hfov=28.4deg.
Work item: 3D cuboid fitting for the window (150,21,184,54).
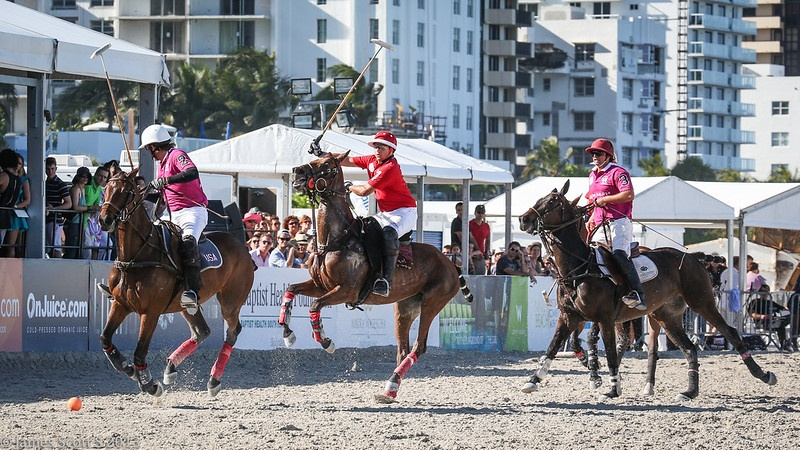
[{"bbox_3d":[-17.987,-14.332,122.113,2.835,2.693,0.188,1,5,2],"label":"window"}]

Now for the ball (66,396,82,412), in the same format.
[{"bbox_3d":[-11.444,6.313,55.268,0.528,0.443,0.450,9,14,2],"label":"ball"}]

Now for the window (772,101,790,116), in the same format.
[{"bbox_3d":[36.747,-11.083,152.279,1.558,1.270,0.176,-2,2,38],"label":"window"}]

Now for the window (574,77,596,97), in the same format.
[{"bbox_3d":[15.914,-11.798,135.989,1.786,1.573,0.554,1,-4,11],"label":"window"}]

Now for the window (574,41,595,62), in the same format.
[{"bbox_3d":[15.869,-14.737,135.725,1.854,1.672,0.571,-1,5,17],"label":"window"}]

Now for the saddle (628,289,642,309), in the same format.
[{"bbox_3d":[8.418,2.735,56.756,0.695,0.697,0.333,1,4,9],"label":"saddle"}]

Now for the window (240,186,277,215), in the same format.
[{"bbox_3d":[-7.076,-1.208,76.651,1.306,1.801,1.857,1,1,26],"label":"window"}]

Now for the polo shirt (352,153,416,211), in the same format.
[{"bbox_3d":[-0.745,-1.371,57.442,1.678,2.384,2.190,-11,7,-17],"label":"polo shirt"}]

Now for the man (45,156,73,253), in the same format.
[{"bbox_3d":[-13.012,-0.616,59.921,0.894,3.738,1.026,-1,4,-11],"label":"man"}]

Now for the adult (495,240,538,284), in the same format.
[{"bbox_3d":[4.654,1.983,65.435,1.445,2.404,1.262,6,7,32],"label":"adult"}]

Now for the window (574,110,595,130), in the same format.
[{"bbox_3d":[15.885,-8.921,136.207,1.752,1.445,0.207,2,-10,2],"label":"window"}]

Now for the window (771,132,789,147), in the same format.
[{"bbox_3d":[36.785,-8.245,152.908,1.475,1.059,0.192,4,-2,32],"label":"window"}]

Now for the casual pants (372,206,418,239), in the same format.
[{"bbox_3d":[-0.095,-0.011,56.956,1.218,0.485,1.190,-2,33,-21],"label":"casual pants"}]

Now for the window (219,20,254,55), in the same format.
[{"bbox_3d":[-12.646,-14.336,121.796,2.881,2.724,0.188,0,2,8],"label":"window"}]

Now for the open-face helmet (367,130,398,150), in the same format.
[{"bbox_3d":[-0.592,-3.083,56.899,0.829,0.381,0.638,16,-6,-12],"label":"open-face helmet"}]

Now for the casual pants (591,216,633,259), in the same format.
[{"bbox_3d":[7.730,0.395,57.303,1.628,0.814,1.107,8,-4,-43],"label":"casual pants"}]
